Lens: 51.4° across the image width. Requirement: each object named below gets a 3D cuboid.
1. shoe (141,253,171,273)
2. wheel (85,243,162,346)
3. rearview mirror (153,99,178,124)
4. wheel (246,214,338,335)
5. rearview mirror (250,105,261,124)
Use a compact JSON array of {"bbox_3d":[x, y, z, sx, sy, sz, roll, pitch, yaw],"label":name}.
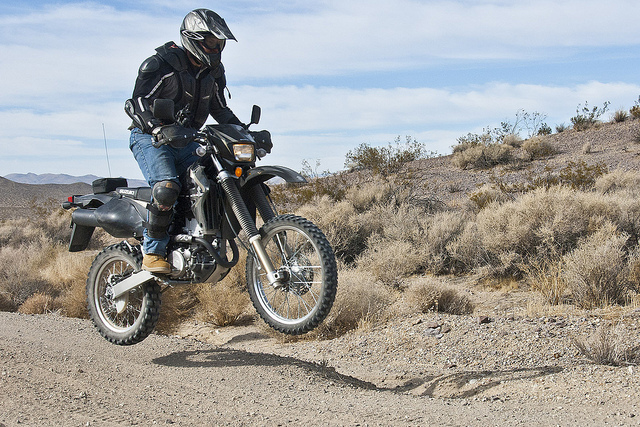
[{"bbox_3d":[-2.244,0.670,9.117,0.392,0.256,0.216,-3,10,-8],"label":"shoe"},{"bbox_3d":[-2.922,1.184,9.846,1.398,1.451,0.280,-2,-1,35],"label":"wheel"},{"bbox_3d":[-2.020,-1.352,8.614,0.347,0.230,0.088,8,0,-34],"label":"rearview mirror"},{"bbox_3d":[-0.438,0.963,9.677,1.656,1.699,0.521,25,18,40],"label":"wheel"},{"bbox_3d":[-0.903,-1.370,9.200,0.132,0.253,0.535,-2,10,-6],"label":"rearview mirror"}]
